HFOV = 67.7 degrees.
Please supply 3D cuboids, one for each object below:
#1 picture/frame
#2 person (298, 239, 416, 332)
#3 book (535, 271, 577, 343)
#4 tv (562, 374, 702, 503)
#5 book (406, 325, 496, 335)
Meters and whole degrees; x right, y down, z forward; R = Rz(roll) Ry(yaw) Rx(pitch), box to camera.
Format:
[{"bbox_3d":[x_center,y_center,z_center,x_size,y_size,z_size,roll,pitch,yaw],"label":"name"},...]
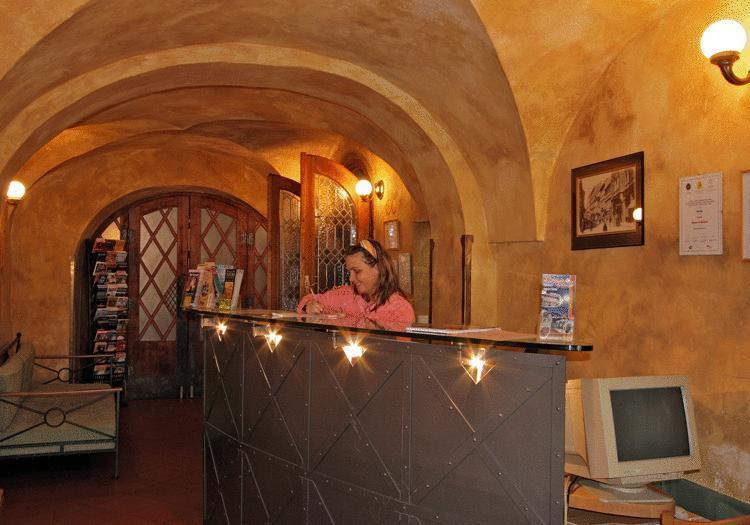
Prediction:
[{"bbox_3d":[1.829,-0.450,4.412,0.041,0.671,0.698,0,-1,-25],"label":"picture/frame"},{"bbox_3d":[-0.172,0.099,4.428,0.659,0.758,1.014,8,-4,-43],"label":"person"},{"bbox_3d":[0.911,0.227,2.811,0.168,0.320,0.187,1,-1,15],"label":"book"},{"bbox_3d":[1.515,0.965,3.199,0.806,0.629,0.141,1,-1,-21],"label":"tv"},{"bbox_3d":[0.444,0.373,2.991,0.546,0.022,0.309,1,-1,-10],"label":"book"}]
